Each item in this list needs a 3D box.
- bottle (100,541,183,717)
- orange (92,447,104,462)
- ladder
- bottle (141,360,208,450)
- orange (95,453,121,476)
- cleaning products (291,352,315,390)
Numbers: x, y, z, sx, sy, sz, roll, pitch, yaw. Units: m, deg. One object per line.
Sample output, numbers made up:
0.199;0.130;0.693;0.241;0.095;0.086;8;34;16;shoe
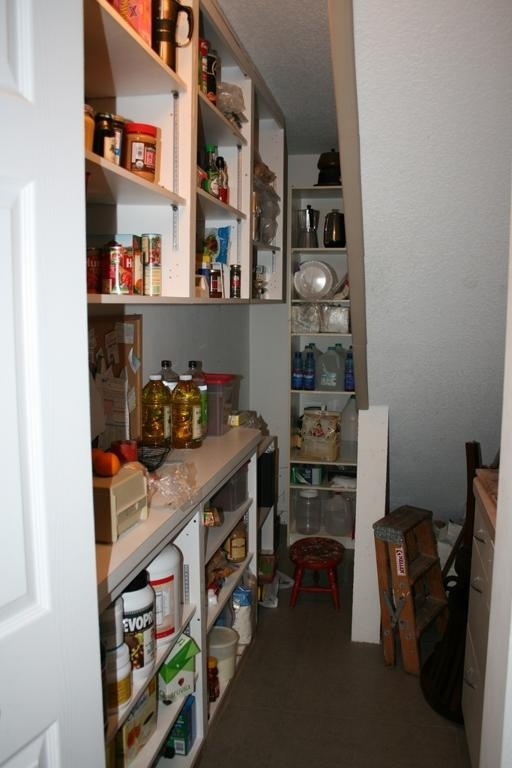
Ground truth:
-0.242;0.537;1.238;0.068;0.120;0.287;-2;10;6;bottle
-0.353;0.157;1.245;0.025;0.027;0.027;1;5;-7;orange
0.675;0.865;2.408;0.261;0.596;0.441;2;3;30;ladder
-0.300;0.085;2.007;0.149;0.423;0.297;1;2;29;bottle
-0.325;0.169;1.231;0.044;0.050;0.048;2;9;23;orange
0.302;-0.074;3.572;0.202;0.340;0.106;-1;-5;0;cleaning products
